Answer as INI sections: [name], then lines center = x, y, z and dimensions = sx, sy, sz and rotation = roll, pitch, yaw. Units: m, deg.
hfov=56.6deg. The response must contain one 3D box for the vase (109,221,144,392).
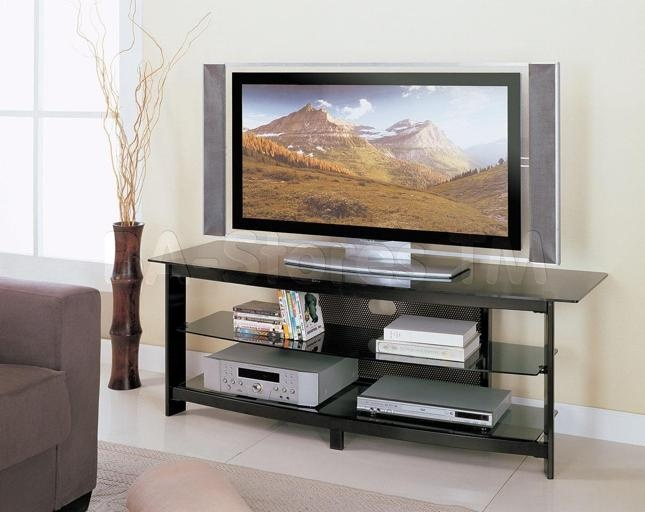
[vase]
center = -1.083, 0.274, 3.266
dimensions = 0.201, 0.906, 0.100
rotation = -3, 10, -20

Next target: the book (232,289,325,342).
[book]
center = -0.180, 0.287, 2.786
dimensions = 0.305, 0.090, 0.288
rotation = 6, 9, 28
